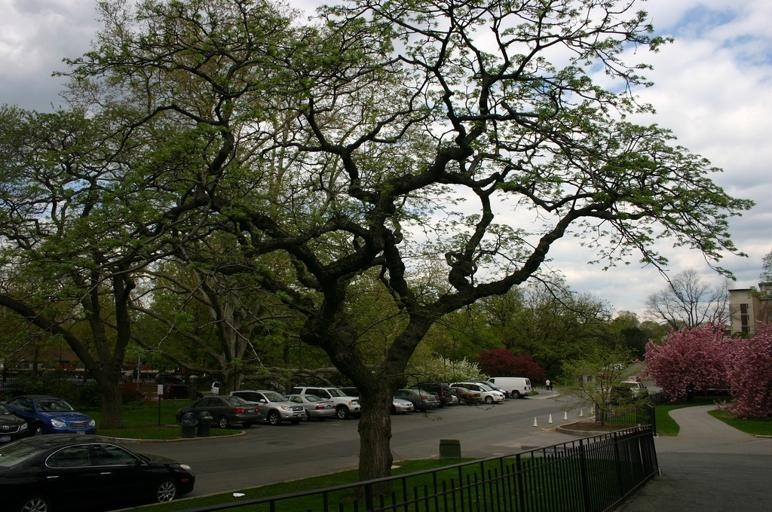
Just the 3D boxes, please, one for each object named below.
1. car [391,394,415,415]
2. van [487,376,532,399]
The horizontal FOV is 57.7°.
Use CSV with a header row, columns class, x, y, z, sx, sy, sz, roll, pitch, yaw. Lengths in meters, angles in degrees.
class,x,y,z,sx,sy,sz,roll,pitch,yaw
car,1.096,10.261,47.998,1.467,1.115,3.397,-3,-11,2
van,11.491,12.024,64.551,4.323,1.033,1.848,0,-6,17
